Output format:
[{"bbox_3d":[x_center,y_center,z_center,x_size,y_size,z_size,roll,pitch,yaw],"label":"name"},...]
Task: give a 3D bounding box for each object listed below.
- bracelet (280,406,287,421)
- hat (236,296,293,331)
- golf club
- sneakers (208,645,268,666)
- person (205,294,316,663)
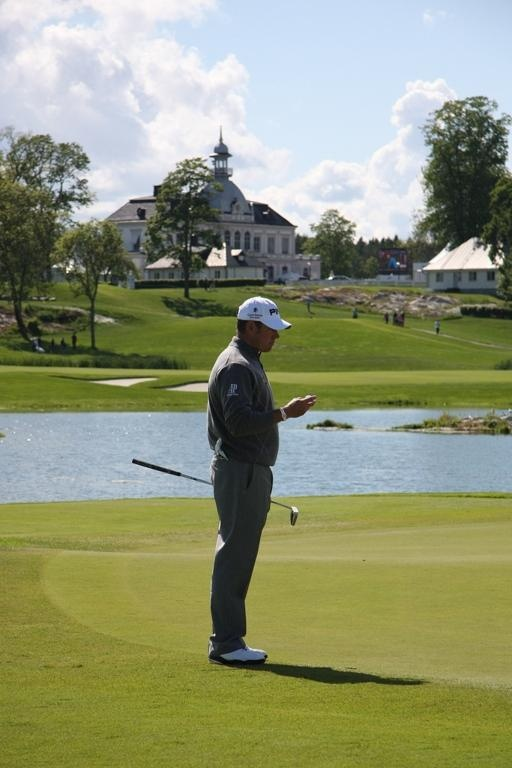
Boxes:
[{"bbox_3d":[0.180,0.204,9.846,0.044,0.077,0.073,-11,22,-11],"label":"bracelet"},{"bbox_3d":[0.034,-0.441,10.066,0.303,0.187,0.200,3,9,4],"label":"hat"},{"bbox_3d":[-0.464,1.134,15.725,1.881,0.238,0.264,20,3,-4],"label":"golf club"},{"bbox_3d":[-0.105,1.677,9.477,0.256,0.110,0.152,0,-1,-3],"label":"sneakers"},{"bbox_3d":[-0.028,0.589,9.816,0.655,2.254,0.944,0,3,10],"label":"person"}]
